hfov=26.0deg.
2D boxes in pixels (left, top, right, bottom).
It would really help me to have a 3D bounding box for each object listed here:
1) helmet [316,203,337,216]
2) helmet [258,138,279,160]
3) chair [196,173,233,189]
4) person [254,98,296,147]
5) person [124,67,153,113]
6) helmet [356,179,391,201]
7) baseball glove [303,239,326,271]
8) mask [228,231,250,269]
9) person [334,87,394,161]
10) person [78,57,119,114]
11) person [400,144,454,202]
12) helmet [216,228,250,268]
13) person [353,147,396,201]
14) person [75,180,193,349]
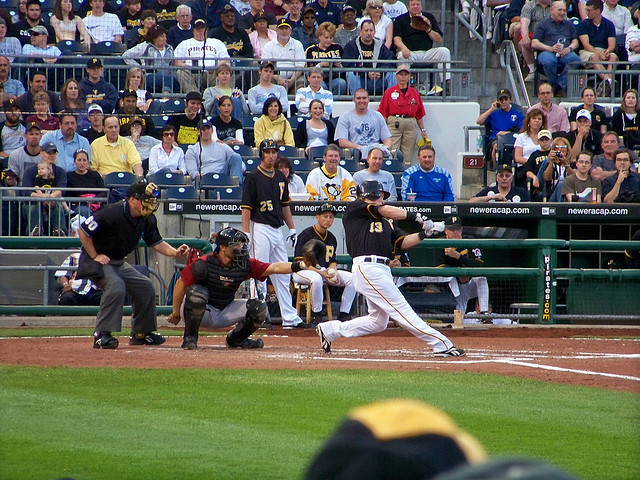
[{"bbox_3d":[0.108,-0.460,20.858,0.236,0.195,0.418,4,12,11],"label":"helmet"},{"bbox_3d":[-0.773,-1.351,20.563,0.261,0.331,0.536,1,12,-3],"label":"helmet"},{"bbox_3d":[-1.728,-0.995,22.948,0.569,0.199,0.104,-3,12,-21],"label":"chair"},{"bbox_3d":[-0.776,-2.001,24.095,0.811,1.001,0.796,-2,-3,27],"label":"person"},{"bbox_3d":[-3.323,-2.727,25.140,0.428,0.789,0.760,3,12,5],"label":"person"},{"bbox_3d":[0.710,-0.698,18.393,0.399,0.265,0.294,-2,-6,9],"label":"helmet"},{"bbox_3d":[-0.019,0.164,18.133,0.294,0.434,0.411,-1,4,-7],"label":"baseball glove"},{"bbox_3d":[-1.014,0.109,18.255,0.372,0.385,0.307,0,0,25],"label":"mask"},{"bbox_3d":[0.758,-1.911,24.435,1.029,1.597,0.940,-3,-8,10],"label":"person"},{"bbox_3d":[-3.986,-2.768,24.792,0.778,0.896,0.815,5,12,15],"label":"person"},{"bbox_3d":[1.721,-1.149,23.157,0.892,1.259,0.874,-2,5,-12],"label":"person"},{"bbox_3d":[-1.184,0.072,18.295,0.454,0.511,0.392,9,15,14],"label":"helmet"},{"bbox_3d":[0.901,-1.016,22.431,0.678,0.982,0.678,6,2,-25],"label":"person"},{"bbox_3d":[-2.542,0.316,18.592,1.393,2.231,1.025,1,7,-13],"label":"person"}]
